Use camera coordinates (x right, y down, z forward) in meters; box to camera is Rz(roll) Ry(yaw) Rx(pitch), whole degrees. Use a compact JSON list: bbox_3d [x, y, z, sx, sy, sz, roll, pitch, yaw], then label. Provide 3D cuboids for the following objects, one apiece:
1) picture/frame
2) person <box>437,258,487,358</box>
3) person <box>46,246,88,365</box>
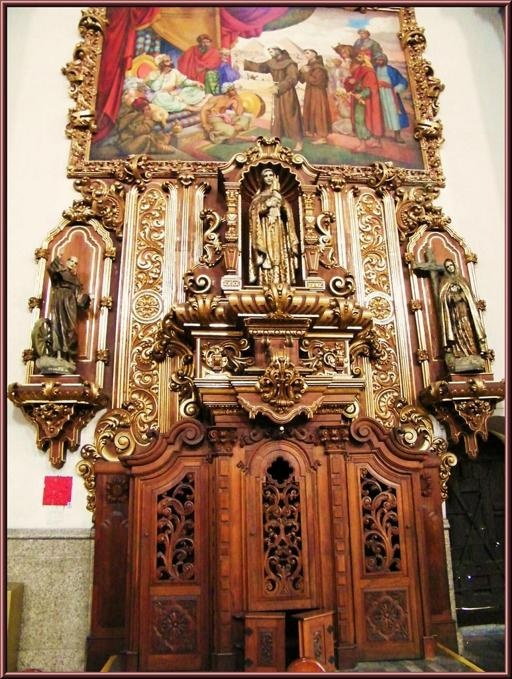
[{"bbox_3d":[-0.142,-2.282,6.522,2.890,1.795,0.100,2,-35,-6],"label":"picture/frame"},{"bbox_3d":[1.731,-0.188,5.741,0.345,0.767,0.210,-8,-24,14],"label":"person"},{"bbox_3d":[-1.564,-0.277,5.552,0.398,1.010,0.274,13,-27,-31],"label":"person"}]
